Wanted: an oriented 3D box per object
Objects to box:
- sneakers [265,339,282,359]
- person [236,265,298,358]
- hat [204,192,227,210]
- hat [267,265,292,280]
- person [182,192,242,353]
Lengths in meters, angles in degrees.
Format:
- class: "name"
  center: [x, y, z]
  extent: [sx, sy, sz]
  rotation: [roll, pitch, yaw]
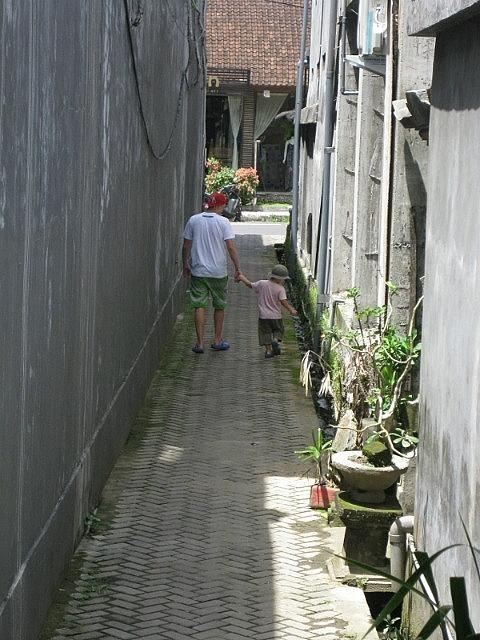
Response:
- class: "sneakers"
  center: [0.459, 0.378, 9.758]
  extent: [0.106, 0.352, 0.151]
  rotation: [2, 46, 14]
- class: "person"
  center: [0.369, -0.112, 9.772]
  extent: [0.674, 1.303, 0.586]
  rotation: [2, 17, -2]
- class: "hat"
  center: [-0.330, -1.614, 9.619]
  extent: [0.241, 0.230, 0.435]
  rotation: [7, 13, 23]
- class: "hat"
  center: [0.547, -0.620, 9.457]
  extent: [0.175, 0.119, 0.199]
  rotation: [5, 18, -10]
- class: "person"
  center: [-0.406, -0.661, 9.978]
  extent: [0.791, 2.154, 1.110]
  rotation: [1, 5, -3]
